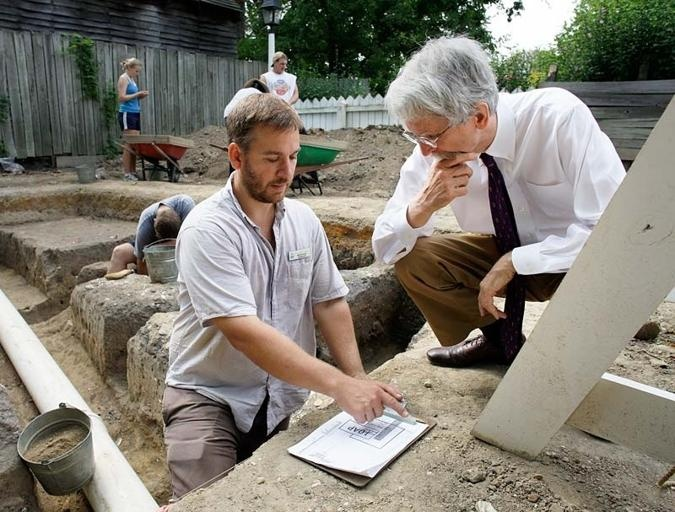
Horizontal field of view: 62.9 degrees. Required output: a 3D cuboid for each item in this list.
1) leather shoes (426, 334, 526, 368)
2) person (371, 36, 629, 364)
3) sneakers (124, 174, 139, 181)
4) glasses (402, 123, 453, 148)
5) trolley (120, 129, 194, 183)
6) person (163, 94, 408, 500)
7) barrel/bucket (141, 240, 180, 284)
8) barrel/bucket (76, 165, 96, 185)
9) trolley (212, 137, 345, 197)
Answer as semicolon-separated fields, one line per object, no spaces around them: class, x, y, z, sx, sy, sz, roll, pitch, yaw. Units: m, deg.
leather shoes;0.721;0.511;3.135;0.605;0.236;0.208;2;5;0
person;0.841;-0.211;3.032;1.219;1.643;0.955;0;8;21
sneakers;-3.400;-1.263;9.139;0.251;0.130;0.112;-2;26;-19
glasses;0.414;-0.600;2.744;0.129;0.117;0.332;-8;21;-22
trolley;-2.890;-1.582;8.986;0.984;0.810;1.268;5;11;10
person;-0.351;0.220;2.518;0.954;1.802;0.860;-6;21;-19
barrel/bucket;-1.471;0.055;4.613;0.306;0.346;0.298;-2;13;0
barrel/bucket;-3.950;-1.278;8.702;0.259;0.248;0.334;-9;21;-25
trolley;-0.774;-1.211;7.904;2.119;0.900;0.972;-10;29;-24
